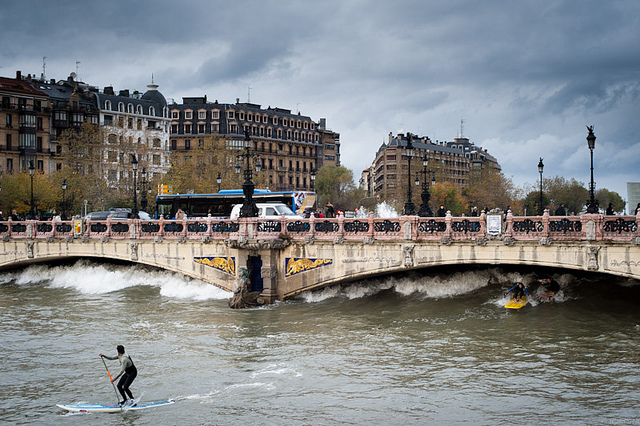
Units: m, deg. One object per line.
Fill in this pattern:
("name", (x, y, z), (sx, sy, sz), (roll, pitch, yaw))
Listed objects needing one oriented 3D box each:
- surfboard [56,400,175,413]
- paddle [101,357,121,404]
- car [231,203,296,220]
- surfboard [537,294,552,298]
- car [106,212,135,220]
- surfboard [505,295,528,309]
("surfboard", (-10.954, 10.124, 57.726), (5.661, 0.547, 0.635), (0, -2, 0))
("paddle", (-11.242, 9.078, 59.304), (0.496, 0.302, 3.496), (-1, 39, -30))
("car", (-4.169, -0.308, 76.974), (4.296, 1.979, 1.666), (-1, 1, 6))
("surfboard", (13.407, 4.899, 65.733), (0.694, 0.223, 0.142), (-1, -2, 11))
("car", (-14.900, 0.146, 82.809), (1.918, 0.665, 0.897), (-3, 18, 0))
("surfboard", (11.660, 5.285, 65.649), (1.318, 0.692, 0.629), (-1, -2, 11))
